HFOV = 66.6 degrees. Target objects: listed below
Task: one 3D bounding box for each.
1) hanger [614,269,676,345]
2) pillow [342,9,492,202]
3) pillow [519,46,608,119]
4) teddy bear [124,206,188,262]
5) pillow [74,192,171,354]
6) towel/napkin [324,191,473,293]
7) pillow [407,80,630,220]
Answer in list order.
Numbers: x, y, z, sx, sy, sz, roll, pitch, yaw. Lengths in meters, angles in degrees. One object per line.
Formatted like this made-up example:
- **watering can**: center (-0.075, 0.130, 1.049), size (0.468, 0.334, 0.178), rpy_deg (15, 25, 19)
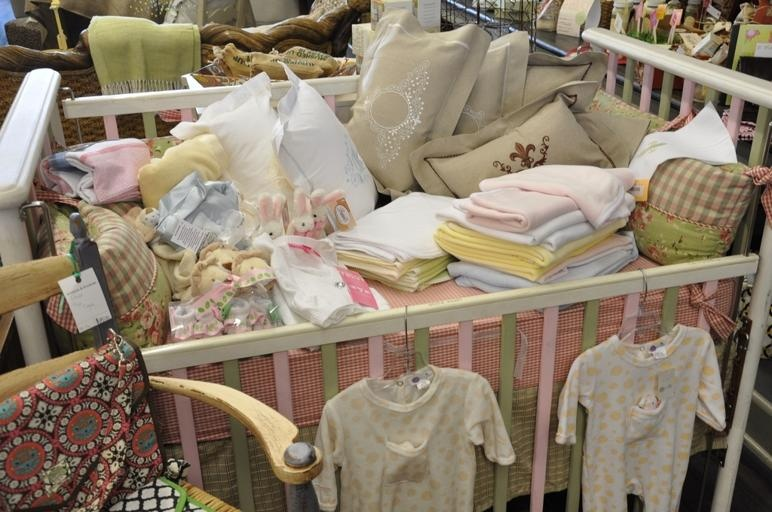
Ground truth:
- **hanger**: center (0.899, 0.205, 2.068), size (0.188, 0.272, 0.079), rpy_deg (-6, 18, -15)
- **pillow**: center (0.160, -0.625, 2.667), size (0.663, 0.752, 0.206), rpy_deg (24, 14, 31)
- **pillow**: center (0.757, -0.738, 2.524), size (0.300, 0.129, 0.337), rpy_deg (-5, 63, 13)
- **teddy bear**: center (-0.816, -0.069, 2.099), size (0.239, 0.078, 0.177), rpy_deg (31, 17, 25)
- **pillow**: center (-0.781, 0.050, 1.824), size (0.110, 0.404, 0.334), rpy_deg (-14, 1, 9)
- **towel/napkin**: center (-0.005, -0.065, 2.183), size (0.366, 0.122, 0.377), rpy_deg (19, 41, 31)
- **pillow**: center (0.547, -0.537, 2.605), size (0.845, 0.213, 0.619), rpy_deg (-18, 5, 32)
